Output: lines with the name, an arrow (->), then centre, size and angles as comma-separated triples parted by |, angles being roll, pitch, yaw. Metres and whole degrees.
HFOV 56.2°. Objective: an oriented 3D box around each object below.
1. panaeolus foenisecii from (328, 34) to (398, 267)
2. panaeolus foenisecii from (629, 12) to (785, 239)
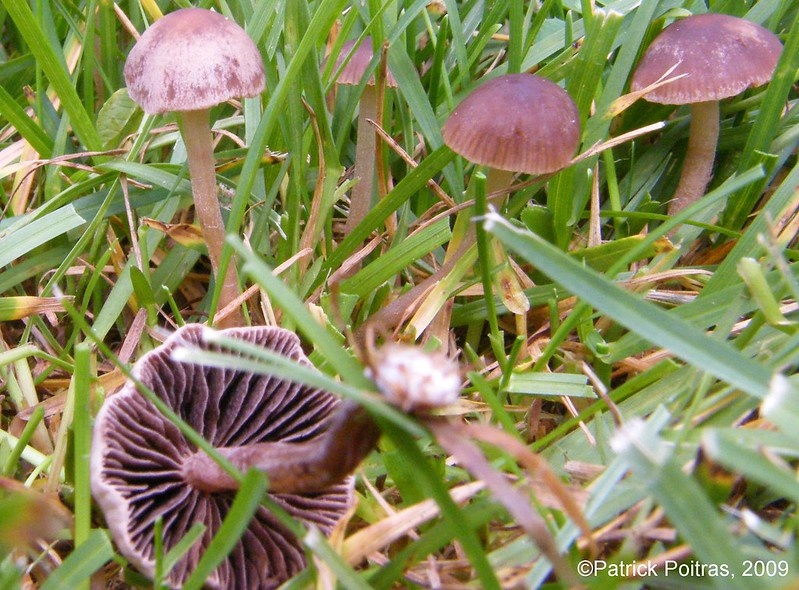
panaeolus foenisecii -> -0.094, -0.495, 2.226 | 0.179, 0.516, 0.690 | -3, 57, -1
panaeolus foenisecii -> 0.864, -0.485, 2.101 | 0.306, 0.558, 0.398 | -14, 47, -3
